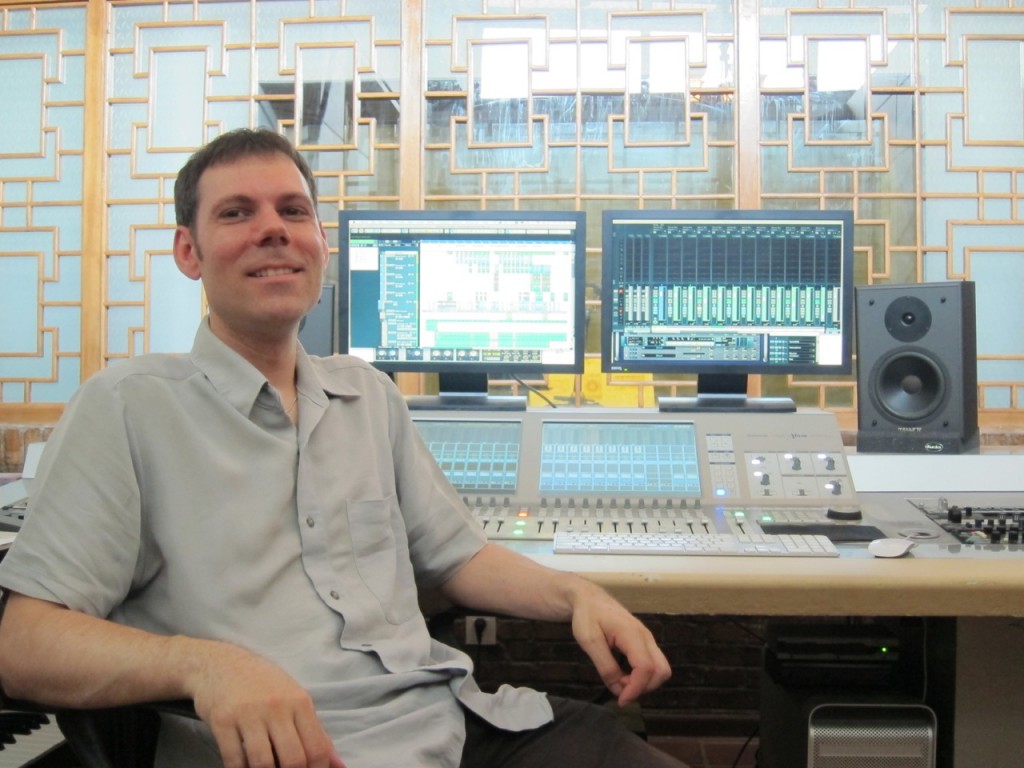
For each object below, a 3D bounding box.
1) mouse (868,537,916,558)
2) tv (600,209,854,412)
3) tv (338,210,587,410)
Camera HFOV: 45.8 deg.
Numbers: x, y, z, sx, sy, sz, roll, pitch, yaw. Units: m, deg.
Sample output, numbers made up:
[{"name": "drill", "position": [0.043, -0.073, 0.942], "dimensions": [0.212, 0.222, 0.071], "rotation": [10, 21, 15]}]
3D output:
[{"name": "mouse", "position": [0.967, 0.408, 3.044], "dimensions": [0.143, 0.037, 0.079], "rotation": [-4, 3, -28]}, {"name": "tv", "position": [0.640, -0.245, 3.598], "dimensions": [0.750, 0.568, 0.201], "rotation": [0, 0, 3]}, {"name": "tv", "position": [-0.154, -0.241, 3.557], "dimensions": [0.587, 0.438, 0.158], "rotation": [0, -1, 1]}]
